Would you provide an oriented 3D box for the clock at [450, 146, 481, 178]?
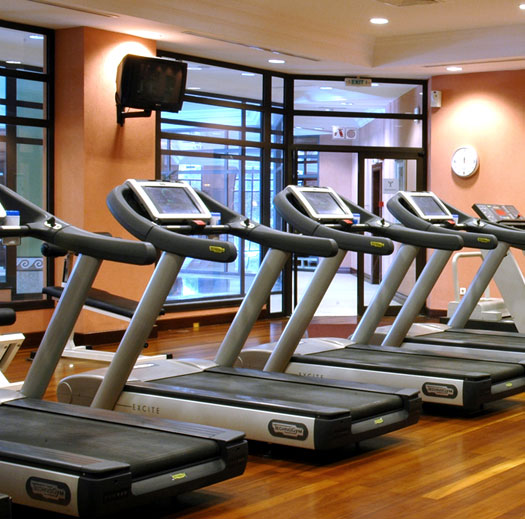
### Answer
[{"bbox_3d":[2.862,-1.371,7.668,0.525,0.546,0.075,1,2,29],"label":"clock"}]

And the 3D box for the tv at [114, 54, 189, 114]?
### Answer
[{"bbox_3d":[-1.260,-1.841,5.746,0.518,0.509,0.780,23,23,38],"label":"tv"}]

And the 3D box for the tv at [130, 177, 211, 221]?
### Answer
[{"bbox_3d":[-0.469,-0.320,2.823,0.331,0.049,0.397,1,-29,14],"label":"tv"}]
